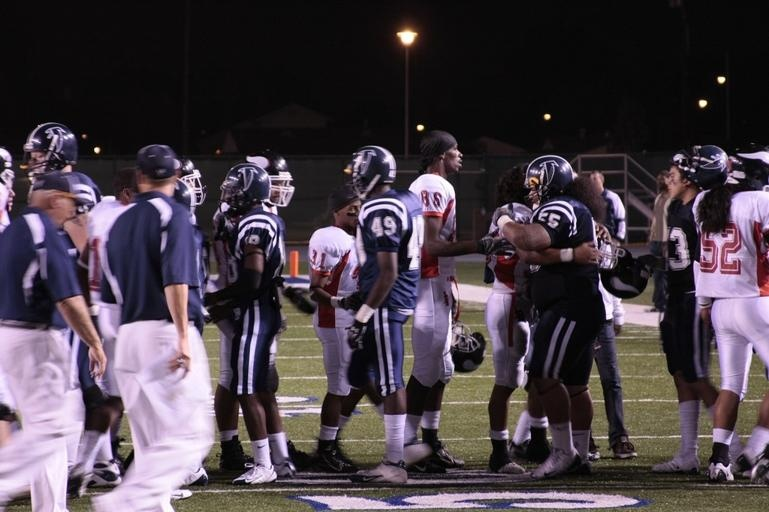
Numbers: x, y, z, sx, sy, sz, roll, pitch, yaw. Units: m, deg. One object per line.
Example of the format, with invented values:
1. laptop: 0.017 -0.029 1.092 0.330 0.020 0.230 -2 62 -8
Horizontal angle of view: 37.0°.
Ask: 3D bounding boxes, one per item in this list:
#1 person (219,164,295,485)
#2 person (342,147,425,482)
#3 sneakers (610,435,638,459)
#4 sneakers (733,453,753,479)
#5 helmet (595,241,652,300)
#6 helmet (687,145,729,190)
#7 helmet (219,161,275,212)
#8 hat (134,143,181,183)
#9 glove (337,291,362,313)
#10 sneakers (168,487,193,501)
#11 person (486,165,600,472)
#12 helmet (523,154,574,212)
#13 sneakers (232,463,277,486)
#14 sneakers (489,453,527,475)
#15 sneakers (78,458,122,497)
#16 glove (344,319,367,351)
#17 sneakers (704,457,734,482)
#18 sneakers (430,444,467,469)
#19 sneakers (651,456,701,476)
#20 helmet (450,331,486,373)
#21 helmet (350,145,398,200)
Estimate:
1. person: -1.166 0.565 10.450 0.642 2.202 0.611 0 0 -8
2. person: -0.032 0.483 10.361 0.739 2.088 0.680 1 0 -23
3. sneakers: 2.278 1.782 10.970 0.249 0.218 0.289 0 -1 10
4. sneakers: 3.205 1.848 10.281 0.080 0.200 0.146 20 21 -3
5. helmet: 2.233 0.122 10.712 0.473 0.485 0.257 0 0 5
6. helmet: 3.001 -0.832 10.627 0.370 0.400 0.339 1 7 36
7. helmet: -1.303 -0.631 10.738 0.524 0.453 0.408 -1 -6 5
8. hat: -1.841 -0.774 9.319 0.390 0.271 0.598 2 10 -20
9. glove: -0.347 0.407 10.437 0.159 0.079 0.204 -6 7 -39
10. sneakers: -1.764 2.005 9.851 0.240 0.090 0.075 -5 29 -28
11. person: 1.539 0.518 10.421 0.936 2.897 0.525 0 0 -4
12. helmet: 1.448 -0.722 10.652 0.512 0.474 0.403 -9 15 -4
13. sneakers: -1.163 1.932 10.254 0.432 0.172 0.149 -2 -6 -15
14. sneakers: 1.109 1.893 10.551 0.274 0.117 0.155 -3 -3 16
15. sneakers: -2.515 1.909 10.129 0.416 0.140 0.169 -5 -11 -18
16. glove: -0.265 0.680 10.103 0.251 0.235 0.181 4 -9 30
17. sneakers: 2.979 1.868 10.164 0.226 0.180 0.282 0 -1 15
18. sneakers: 0.526 1.839 10.637 0.413 0.228 0.133 9 -5 -1
19. sneakers: 2.659 1.884 10.494 0.420 0.160 0.165 2 -5 6
20. helmet: 0.804 0.883 11.125 0.294 0.284 0.378 1 30 23
21. helmet: -0.116 -0.797 10.585 0.476 0.445 0.374 -9 -1 -5
